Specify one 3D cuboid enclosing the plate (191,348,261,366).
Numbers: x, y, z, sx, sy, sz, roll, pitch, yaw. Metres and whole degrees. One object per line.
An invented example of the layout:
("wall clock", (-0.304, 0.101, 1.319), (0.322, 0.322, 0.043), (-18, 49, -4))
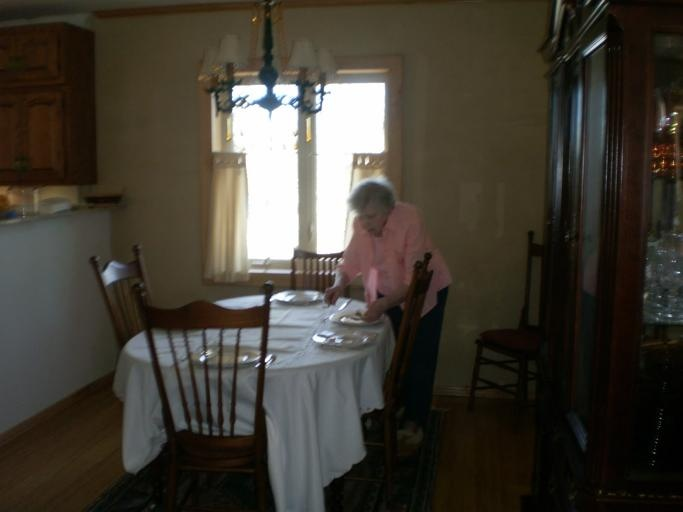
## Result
("plate", (-0.455, 0.405, 2.266), (0.176, 0.029, 0.130), (1, 1, 12))
